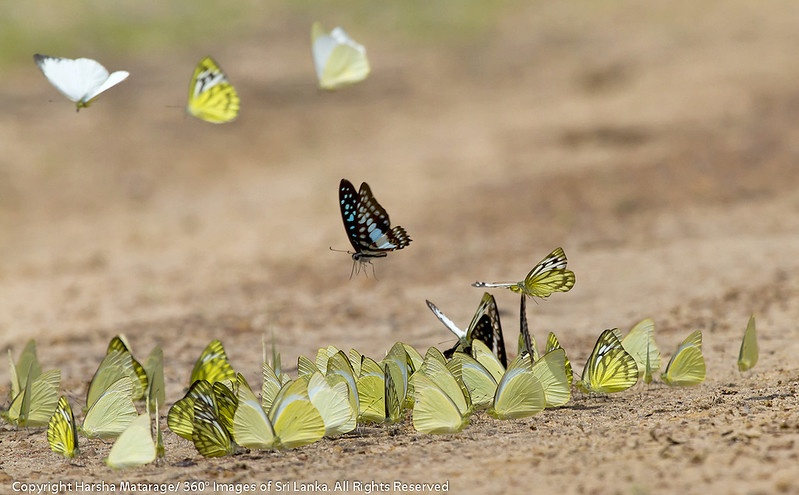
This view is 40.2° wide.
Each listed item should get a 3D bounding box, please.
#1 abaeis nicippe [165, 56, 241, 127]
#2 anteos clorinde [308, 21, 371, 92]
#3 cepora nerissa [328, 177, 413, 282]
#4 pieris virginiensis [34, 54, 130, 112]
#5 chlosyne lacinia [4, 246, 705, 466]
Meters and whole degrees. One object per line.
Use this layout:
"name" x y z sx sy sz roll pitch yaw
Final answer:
"abaeis nicippe" -2.416 -2.053 14.069 0.515 0.947 0.465 -21 -15 36
"anteos clorinde" -0.795 -2.577 14.493 0.777 0.930 0.343 -6 -13 -27
"cepora nerissa" -0.291 -0.222 13.687 1.029 1.064 1.172 1 0 2
"pieris virginiensis" -3.885 -2.054 13.359 0.979 0.754 0.219 -9 -12 -18
"chlosyne lacinia" -0.718 1.437 13.562 8.276 2.351 1.352 -12 -12 -5
